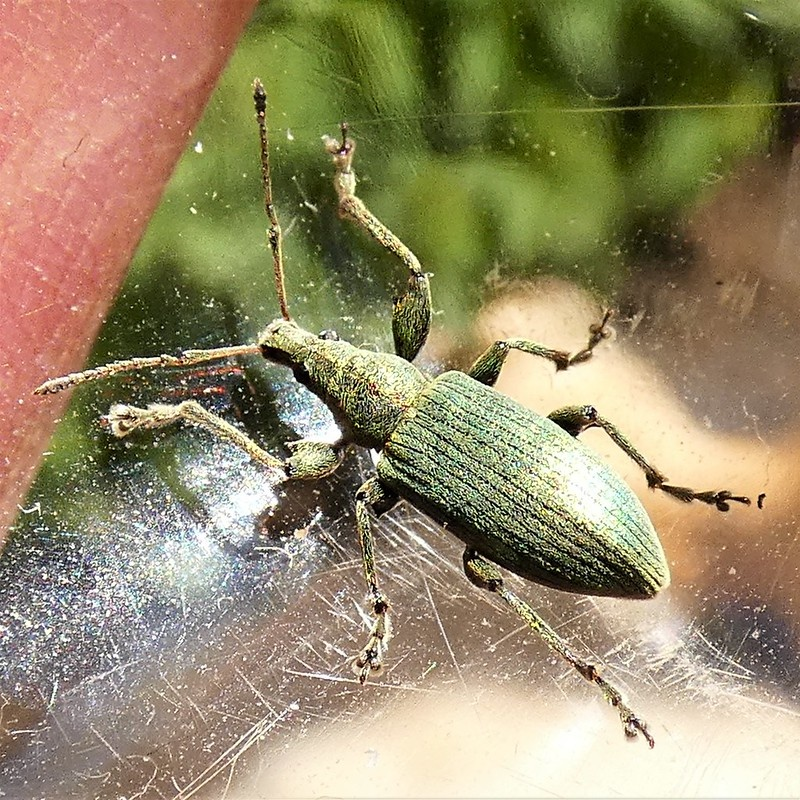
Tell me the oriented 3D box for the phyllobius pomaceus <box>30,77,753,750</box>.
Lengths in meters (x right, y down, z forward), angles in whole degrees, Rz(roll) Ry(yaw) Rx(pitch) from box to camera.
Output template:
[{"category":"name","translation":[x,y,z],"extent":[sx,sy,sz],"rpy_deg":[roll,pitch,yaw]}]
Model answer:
[{"category":"phyllobius pomaceus","translation":[-0.008,0.103,2.980],"extent":[1.727,0.335,1.337],"rpy_deg":[33,80,12]}]
